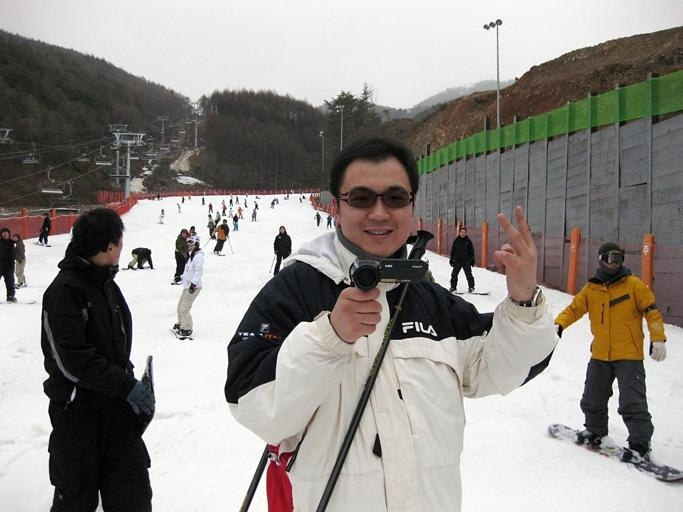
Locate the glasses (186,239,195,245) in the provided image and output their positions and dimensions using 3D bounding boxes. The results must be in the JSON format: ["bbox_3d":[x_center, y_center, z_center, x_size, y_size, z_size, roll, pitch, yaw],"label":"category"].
[{"bbox_3d":[-2.925,-0.302,10.196,0.095,0.132,0.130,24,-16,16],"label":"glasses"}]

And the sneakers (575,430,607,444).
[{"bbox_3d":[2.808,2.018,5.888,0.258,0.132,0.095,15,15,29],"label":"sneakers"}]

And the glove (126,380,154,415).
[{"bbox_3d":[-1.473,1.046,3.871,0.072,0.268,0.195,-8,21,35],"label":"glove"}]

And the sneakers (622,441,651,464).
[{"bbox_3d":[3.089,2.058,5.515,0.141,0.199,0.396,-7,-16,39],"label":"sneakers"}]

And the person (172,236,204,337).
[{"bbox_3d":[-2.939,0.539,10.054,0.502,1.883,0.860,1,2,-19],"label":"person"}]

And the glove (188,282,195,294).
[{"bbox_3d":[-2.785,0.572,9.691,0.109,0.177,0.056,0,-17,11],"label":"glove"}]

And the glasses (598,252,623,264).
[{"bbox_3d":[3.047,0.009,5.951,0.126,0.105,0.184,0,1,-4],"label":"glasses"}]

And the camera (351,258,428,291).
[{"bbox_3d":[0.235,0.084,2.615,0.420,0.162,0.198,1,2,-36],"label":"camera"}]

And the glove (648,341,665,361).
[{"bbox_3d":[3.465,1.010,5.768,0.155,0.238,0.098,-12,-9,25],"label":"glove"}]
